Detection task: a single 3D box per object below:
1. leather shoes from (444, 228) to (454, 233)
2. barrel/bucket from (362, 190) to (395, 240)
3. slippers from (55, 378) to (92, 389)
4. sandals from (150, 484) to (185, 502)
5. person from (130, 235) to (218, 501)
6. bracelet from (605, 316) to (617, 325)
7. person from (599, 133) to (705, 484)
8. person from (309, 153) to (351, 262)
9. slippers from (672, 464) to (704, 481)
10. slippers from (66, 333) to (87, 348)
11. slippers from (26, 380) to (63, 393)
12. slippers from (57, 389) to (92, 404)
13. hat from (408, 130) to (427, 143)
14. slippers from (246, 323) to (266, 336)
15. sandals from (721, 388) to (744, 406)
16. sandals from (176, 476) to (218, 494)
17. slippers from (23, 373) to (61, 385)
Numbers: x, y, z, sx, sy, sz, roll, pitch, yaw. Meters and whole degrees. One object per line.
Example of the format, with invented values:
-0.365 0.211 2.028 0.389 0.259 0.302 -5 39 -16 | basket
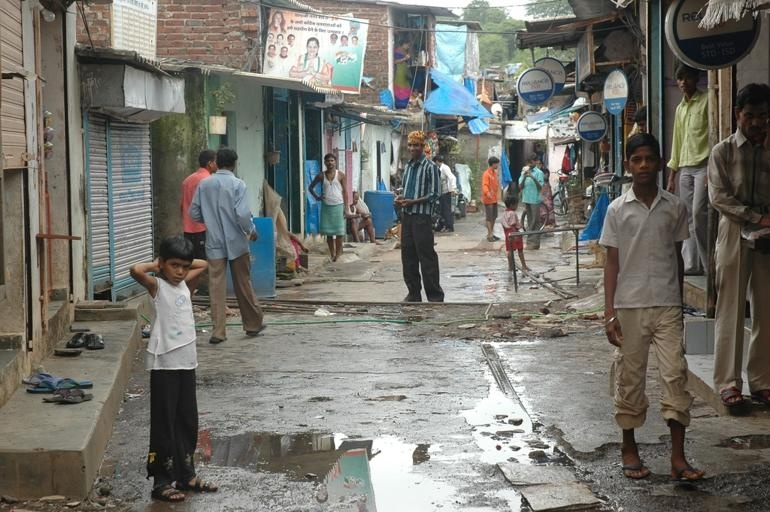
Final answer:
1.896 -0.730 24.045 0.269 0.116 0.254 -5 -17 19 | leather shoes
-0.104 -1.131 21.693 1.172 1.556 1.137 -1 1 0 | barrel/bucket
-2.604 1.076 6.758 0.195 0.052 0.107 1 -1 -6 | slippers
-1.506 1.635 5.584 0.203 0.076 0.105 -3 4 17 | sandals
-1.505 0.776 5.655 0.419 1.776 0.530 -5 11 -13 | person
1.624 0.464 5.799 0.029 0.024 0.104 7 -26 -35 | bracelet
1.889 0.334 5.770 0.687 2.391 0.766 0 11 13 | person
-1.161 -1.039 16.941 0.753 2.180 1.378 -3 10 -3 | person
2.079 1.488 5.571 0.194 0.072 0.100 -7 15 45 | slippers
-3.101 0.854 8.142 0.095 0.094 0.265 9 8 -2 | slippers
-2.836 1.094 6.691 0.201 0.071 0.118 -3 3 -2 | slippers
-2.502 1.120 6.494 0.129 0.054 0.154 2 1 4 | slippers
0.459 -1.691 11.513 0.258 0.207 0.220 -2 11 -1 | hat
-1.562 0.892 9.716 0.277 0.086 0.114 -19 -21 5 | slippers
2.809 1.143 6.516 0.112 0.116 0.178 -3 -8 2 | sandals
-1.331 1.621 5.723 0.307 0.094 0.109 0 4 3 | sandals
-2.912 1.040 6.826 0.225 0.076 0.129 -5 1 12 | slippers
